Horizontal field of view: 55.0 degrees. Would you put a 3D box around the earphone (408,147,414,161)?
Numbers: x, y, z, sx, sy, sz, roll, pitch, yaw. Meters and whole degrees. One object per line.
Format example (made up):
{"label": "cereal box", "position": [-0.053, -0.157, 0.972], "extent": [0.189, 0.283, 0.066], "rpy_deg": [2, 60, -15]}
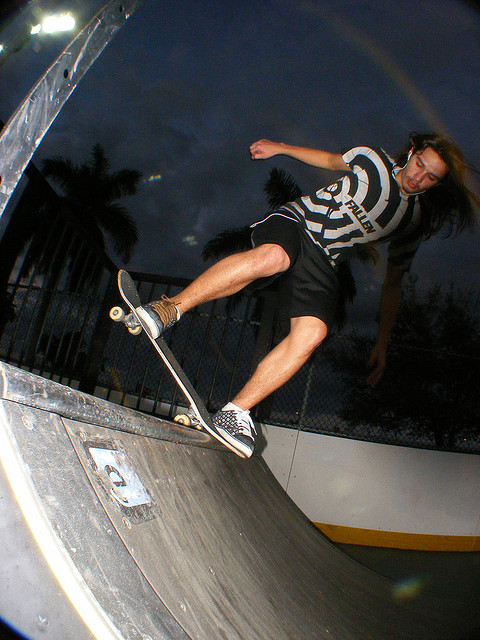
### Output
{"label": "earphone", "position": [0.795, -0.778, 2.155], "extent": [0.012, 0.067, 0.034], "rpy_deg": [13, -6, 0]}

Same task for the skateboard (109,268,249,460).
{"label": "skateboard", "position": [-0.301, 0.211, 2.337], "extent": [1.113, 0.161, 0.260], "rpy_deg": [59, 10, -4]}
